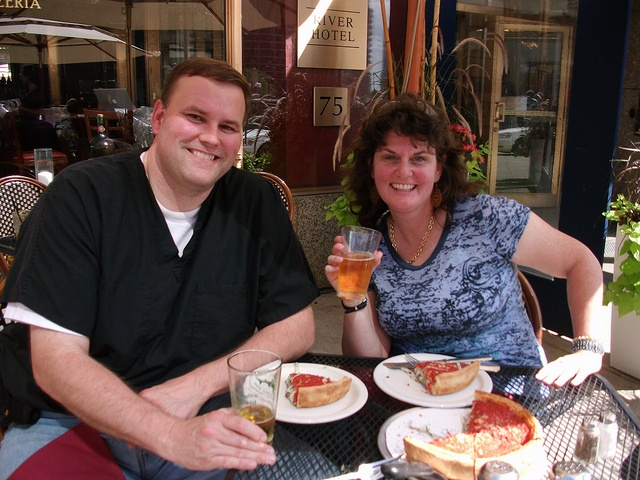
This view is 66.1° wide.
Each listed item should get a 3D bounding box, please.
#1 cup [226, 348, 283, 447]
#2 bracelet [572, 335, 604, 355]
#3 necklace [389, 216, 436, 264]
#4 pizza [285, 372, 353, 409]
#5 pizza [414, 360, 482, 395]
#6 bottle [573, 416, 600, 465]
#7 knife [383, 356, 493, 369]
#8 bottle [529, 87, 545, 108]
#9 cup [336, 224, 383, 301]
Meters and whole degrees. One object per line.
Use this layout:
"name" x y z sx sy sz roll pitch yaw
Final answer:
"cup" -0.186 0.467 1.445 0.153 0.272 0.176 -4 15 -9
"bracelet" 0.997 0.374 1.833 0.084 0.039 0.075 1 3 31
"necklace" 0.454 -0.020 2.295 0.157 0.243 0.034 11 12 27
"pizza" -0.007 0.487 1.639 0.138 0.050 0.112 0 11 -16
"pizza" 0.435 0.455 1.688 0.124 0.049 0.123 -5 6 -11
"bottle" 0.730 0.543 1.347 0.051 0.090 0.100 8 18 34
"knife" 0.411 0.436 1.763 0.428 0.025 0.059 -1 18 0
"bottle" 1.941 -1.255 4.383 0.044 0.154 0.143 -18 -4 -34
"cup" 0.145 0.099 1.903 0.164 0.329 0.157 -2 14 0
